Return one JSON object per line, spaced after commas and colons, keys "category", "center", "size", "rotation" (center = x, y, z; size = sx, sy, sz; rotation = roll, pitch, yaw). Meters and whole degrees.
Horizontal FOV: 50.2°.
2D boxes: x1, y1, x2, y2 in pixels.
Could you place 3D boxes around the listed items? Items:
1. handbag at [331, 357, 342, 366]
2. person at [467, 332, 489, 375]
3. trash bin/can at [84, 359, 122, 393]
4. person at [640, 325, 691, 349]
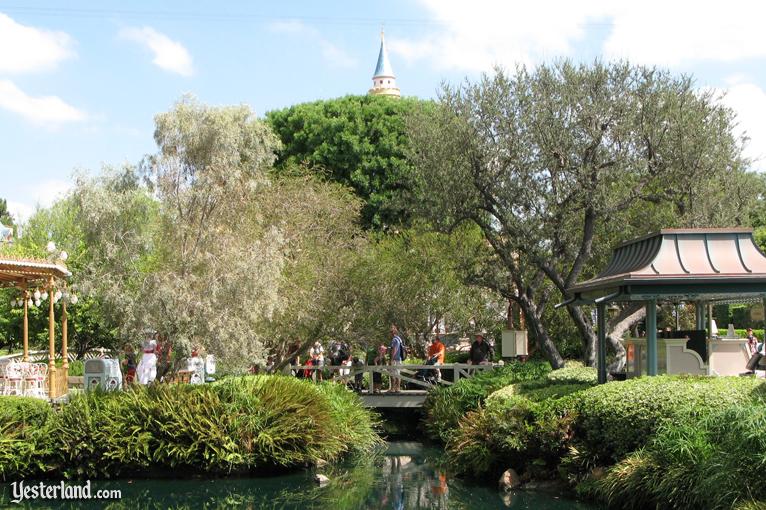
{"category": "handbag", "center": [-1.533, 3.492, 27.147], "size": [0.266, 0.305, 0.285], "rotation": [1, 1, -22]}
{"category": "person", "center": [3.062, 3.124, 26.165], "size": [0.679, 1.338, 1.630], "rotation": [-2, -11, 5]}
{"category": "trash bin/can", "center": [-7.738, 3.311, 22.589], "size": [0.609, 1.082, 1.144], "rotation": [1, -3, 6]}
{"category": "person", "center": [7.345, 2.068, 20.664], "size": [0.758, 0.608, 1.889], "rotation": [-4, -12, 15]}
